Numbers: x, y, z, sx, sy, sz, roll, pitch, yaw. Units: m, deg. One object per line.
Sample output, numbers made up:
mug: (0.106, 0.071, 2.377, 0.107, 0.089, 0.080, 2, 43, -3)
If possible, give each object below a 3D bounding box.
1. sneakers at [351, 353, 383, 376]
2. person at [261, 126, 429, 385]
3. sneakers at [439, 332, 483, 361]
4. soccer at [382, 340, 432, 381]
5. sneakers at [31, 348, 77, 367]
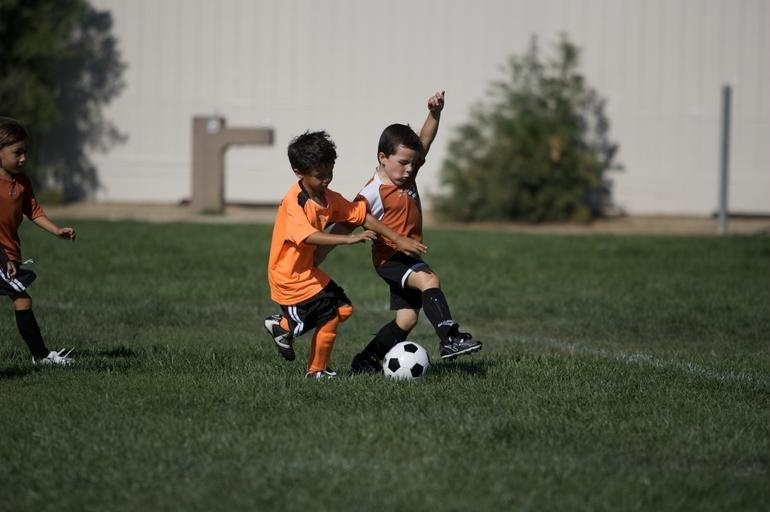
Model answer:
sneakers: (-0.183, 1.027, 11.706, 0.347, 0.171, 0.131, 0, -1, 10)
person: (-0.538, 0.004, 11.228, 1.089, 2.222, 0.609, -1, 8, -6)
sneakers: (0.725, 0.783, 11.309, 0.440, 0.237, 0.174, -19, 4, 30)
soccer: (0.189, 0.962, 11.507, 0.375, 0.357, 0.336, -1, 43, -1)
sneakers: (-3.104, 0.952, 11.800, 0.406, 0.194, 0.157, 5, -3, -7)
